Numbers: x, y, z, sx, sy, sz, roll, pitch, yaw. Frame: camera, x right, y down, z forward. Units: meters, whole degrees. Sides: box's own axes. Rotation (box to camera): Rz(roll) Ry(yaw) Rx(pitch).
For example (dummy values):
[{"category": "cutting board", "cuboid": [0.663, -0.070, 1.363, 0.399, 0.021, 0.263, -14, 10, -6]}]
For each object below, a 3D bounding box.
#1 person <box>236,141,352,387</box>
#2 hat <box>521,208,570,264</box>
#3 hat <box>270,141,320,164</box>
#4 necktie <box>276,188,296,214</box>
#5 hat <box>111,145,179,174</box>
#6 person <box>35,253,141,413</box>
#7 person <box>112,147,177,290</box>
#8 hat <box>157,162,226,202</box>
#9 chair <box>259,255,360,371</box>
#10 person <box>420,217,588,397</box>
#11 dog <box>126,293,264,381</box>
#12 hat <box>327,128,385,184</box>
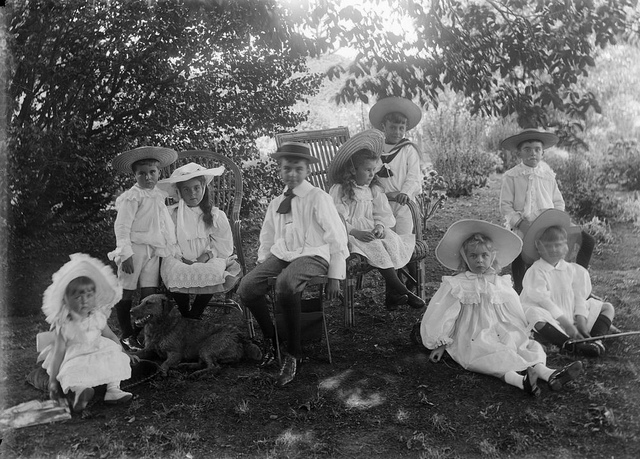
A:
[{"category": "person", "cuboid": [-0.252, 0.258, 5.394, 1.024, 2.197, 0.810, 0, 4, 1]}, {"category": "hat", "cuboid": [2.172, -0.004, 5.729, 0.478, 0.525, 0.144, 21, 13, -35]}, {"category": "hat", "cuboid": [-0.265, -0.776, 5.579, 0.436, 0.189, 0.290, 0, 3, -7]}, {"category": "necktie", "cuboid": [-0.335, -0.286, 5.606, 0.179, 0.242, 0.092, 0, 4, -4]}, {"category": "hat", "cuboid": [-1.877, -0.769, 6.103, 0.682, 0.262, 0.412, -1, 3, -20]}, {"category": "person", "cuboid": [-1.970, 0.863, 4.799, 0.654, 1.316, 0.237, -2, 4, -25]}, {"category": "person", "cuboid": [-1.856, -0.146, 5.955, 0.595, 1.466, 0.592, -1, 4, -20]}, {"category": "hat", "cuboid": [-1.422, -0.514, 6.147, 0.651, 0.232, 0.658, -20, -21, 17]}, {"category": "chair", "cuboid": [-0.056, 0.759, 5.972, 0.944, 0.884, 1.393, -15, 5, 41]}, {"category": "person", "cuboid": [1.624, 0.624, 5.157, 1.117, 1.410, 1.497, -2, 5, -18]}, {"category": "dog", "cuboid": [-1.227, 1.025, 5.482, 1.324, 0.650, 0.531, 6, 1, -15]}, {"category": "hat", "cuboid": [0.311, -0.762, 6.203, 0.791, 0.187, 0.804, -42, -6, 3]}]
